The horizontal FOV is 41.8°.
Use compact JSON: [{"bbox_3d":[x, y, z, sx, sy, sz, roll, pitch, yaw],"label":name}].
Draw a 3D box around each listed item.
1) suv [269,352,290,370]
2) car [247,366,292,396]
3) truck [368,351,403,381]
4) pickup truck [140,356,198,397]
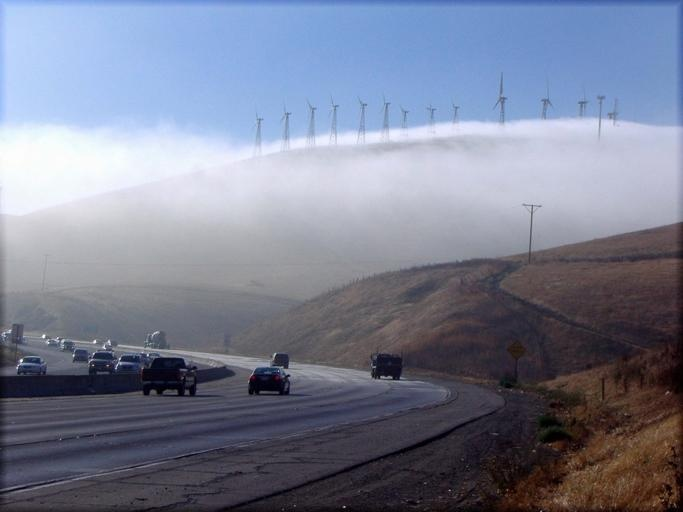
[{"bbox_3d":[-6.275,10.919,90.973,1.841,1.682,3.235,2,3,-10],"label":"suv"},{"bbox_3d":[-3.904,6.785,48.337,2.064,1.390,1.318,-1,-1,3],"label":"car"},{"bbox_3d":[3.500,8.818,71.879,1.607,1.408,2.703,2,0,-7],"label":"truck"},{"bbox_3d":[-9.002,6.309,46.622,2.812,2.053,2.202,0,-1,-22],"label":"pickup truck"}]
